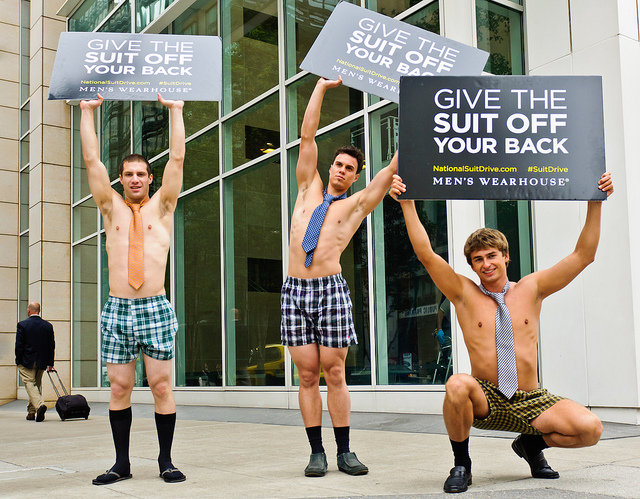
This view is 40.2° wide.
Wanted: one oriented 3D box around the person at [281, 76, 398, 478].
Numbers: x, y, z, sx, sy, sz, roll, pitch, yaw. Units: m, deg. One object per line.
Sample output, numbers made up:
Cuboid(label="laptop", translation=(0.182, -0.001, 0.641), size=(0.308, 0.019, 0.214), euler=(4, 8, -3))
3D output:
Cuboid(label="person", translation=(0.073, 0.166, 6.585), size=(0.786, 2.961, 0.419), euler=(-3, -5, -4))

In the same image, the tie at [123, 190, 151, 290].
Cuboid(label="tie", translation=(-1.369, -0.058, 6.553), size=(0.146, 0.705, 0.208), euler=(-3, -5, -4))

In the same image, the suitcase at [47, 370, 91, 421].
Cuboid(label="suitcase", translation=(-3.452, 1.896, 11.731), size=(0.507, 0.859, 0.396), euler=(-29, -26, 24))

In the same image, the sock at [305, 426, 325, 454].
Cuboid(label="sock", translation=(-0.049, 1.400, 6.462), size=(0.112, 0.199, 0.131), euler=(-3, -4, -4))

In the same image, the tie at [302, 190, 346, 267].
Cuboid(label="tie", translation=(0.008, -0.140, 6.625), size=(0.215, 0.532, 0.028), euler=(12, -25, 26))

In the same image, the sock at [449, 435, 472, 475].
Cuboid(label="sock", translation=(0.949, 1.450, 6.033), size=(0.140, 0.280, 0.297), euler=(0, -6, 9))

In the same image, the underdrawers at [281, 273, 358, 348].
Cuboid(label="underdrawers", translation=(-0.028, 0.454, 6.444), size=(0.490, 0.563, 0.340), euler=(3, -4, -16))

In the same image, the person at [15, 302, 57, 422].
Cuboid(label="person", translation=(-3.969, 1.541, 12.171), size=(0.460, 1.597, 0.618), euler=(-4, -5, 5))

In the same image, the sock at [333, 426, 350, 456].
Cuboid(label="sock", translation=(0.155, 1.412, 6.449), size=(0.098, 0.223, 0.104), euler=(-3, -4, 3))

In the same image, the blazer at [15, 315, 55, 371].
Cuboid(label="blazer", translation=(-4.001, 1.311, 12.225), size=(0.561, 0.726, 0.306), euler=(5, -12, -35))

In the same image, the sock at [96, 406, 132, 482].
Cuboid(label="sock", translation=(-1.532, 1.427, 6.377), size=(0.171, 0.557, 0.353), euler=(-5, -6, 41))

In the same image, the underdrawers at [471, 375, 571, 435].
Cuboid(label="underdrawers", translation=(1.331, 1.126, 6.110), size=(0.587, 0.397, 0.768), euler=(4, -5, 41))
